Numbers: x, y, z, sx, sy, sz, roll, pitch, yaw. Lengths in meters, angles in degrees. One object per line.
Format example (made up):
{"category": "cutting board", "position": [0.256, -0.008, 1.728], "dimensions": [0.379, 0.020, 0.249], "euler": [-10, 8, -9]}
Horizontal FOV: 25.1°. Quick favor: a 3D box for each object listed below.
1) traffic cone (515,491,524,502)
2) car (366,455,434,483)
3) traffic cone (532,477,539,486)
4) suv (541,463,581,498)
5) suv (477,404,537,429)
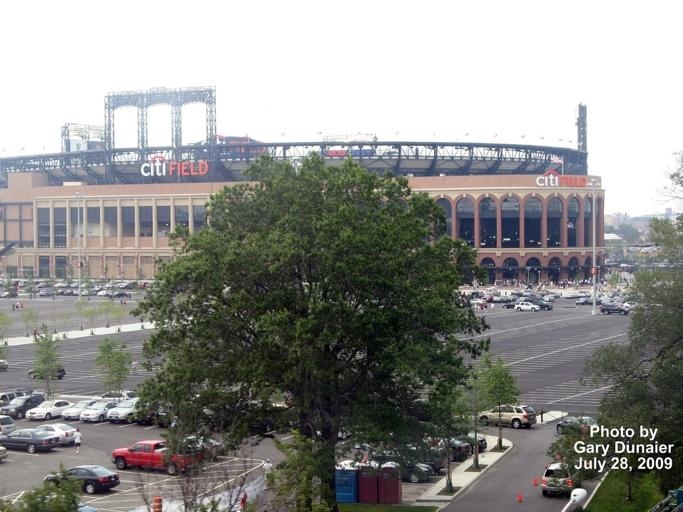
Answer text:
{"category": "traffic cone", "position": [17.647, 24.255, 153.670], "dimensions": [0.604, 0.694, 0.630], "euler": [1, -4, -1]}
{"category": "car", "position": [6.677, 22.224, 157.065], "dimensions": [6.636, 2.540, 3.080], "euler": [5, 0, 0]}
{"category": "traffic cone", "position": [19.436, 23.008, 155.834], "dimensions": [0.566, 0.661, 0.581], "euler": [-1, -3, 0]}
{"category": "suv", "position": [21.550, 22.354, 153.561], "dimensions": [2.851, 3.128, 3.802], "euler": [7, -2, -30]}
{"category": "suv", "position": [17.959, 17.859, 168.686], "dimensions": [5.853, 2.380, 2.966], "euler": [3, 1, 12]}
